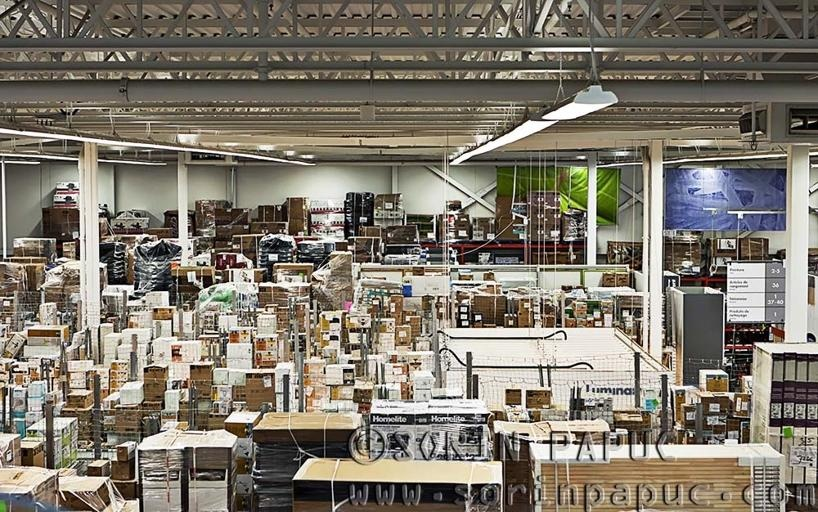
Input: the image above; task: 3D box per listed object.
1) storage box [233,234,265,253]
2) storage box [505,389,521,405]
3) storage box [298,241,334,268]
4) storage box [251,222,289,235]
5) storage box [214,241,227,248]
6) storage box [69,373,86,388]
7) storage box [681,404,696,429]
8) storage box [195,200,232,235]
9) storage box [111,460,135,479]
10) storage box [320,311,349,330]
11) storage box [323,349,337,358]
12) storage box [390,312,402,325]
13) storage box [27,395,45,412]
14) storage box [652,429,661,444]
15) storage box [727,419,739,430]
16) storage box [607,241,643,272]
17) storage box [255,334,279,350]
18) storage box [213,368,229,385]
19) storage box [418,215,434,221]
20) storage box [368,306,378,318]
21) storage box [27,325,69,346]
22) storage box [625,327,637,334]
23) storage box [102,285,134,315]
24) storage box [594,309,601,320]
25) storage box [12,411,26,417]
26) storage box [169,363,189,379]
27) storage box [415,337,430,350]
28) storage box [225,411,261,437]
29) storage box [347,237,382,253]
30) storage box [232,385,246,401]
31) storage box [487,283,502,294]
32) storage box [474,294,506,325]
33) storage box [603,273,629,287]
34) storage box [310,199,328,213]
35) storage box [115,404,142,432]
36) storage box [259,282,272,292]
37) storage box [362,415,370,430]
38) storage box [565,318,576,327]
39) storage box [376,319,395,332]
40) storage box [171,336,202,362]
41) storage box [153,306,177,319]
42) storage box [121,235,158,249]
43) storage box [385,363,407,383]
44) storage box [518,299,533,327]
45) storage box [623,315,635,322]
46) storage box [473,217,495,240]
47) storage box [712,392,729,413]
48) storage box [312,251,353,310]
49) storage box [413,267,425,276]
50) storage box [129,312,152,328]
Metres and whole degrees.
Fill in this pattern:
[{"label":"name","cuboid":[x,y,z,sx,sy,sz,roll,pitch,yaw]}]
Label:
[{"label":"storage box","cuboid":[-4.602,-0.288,36.690,0.862,0.484,0.562,-2,-2,5]},{"label":"storage box","cuboid":[2.047,2.851,25.970,0.387,0.387,0.282,-1,2,-1]},{"label":"storage box","cuboid":[-2.593,-0.035,35.531,0.905,0.646,0.495,-1,5,-21]},{"label":"storage box","cuboid":[-4.188,-0.775,38.560,1.063,0.285,1.274,-1,0,-10]},{"label":"storage box","cuboid":[-5.572,-0.272,38.375,0.335,0.197,0.660,-1,0,-15]},{"label":"storage box","cuboid":[-7.027,2.674,27.546,0.325,0.305,0.332,-3,0,-41]},{"label":"storage box","cuboid":[5.513,3.236,25.671,0.254,0.442,0.470,0,3,3]},{"label":"storage box","cuboid":[-6.061,-1.121,39.846,0.994,1.037,1.021,8,7,39]},{"label":"storage box","cuboid":[-5.375,4.074,24.373,0.572,0.309,0.362,4,-3,-24]},{"label":"storage box","cuboid":[-1.736,1.499,28.933,0.459,0.285,0.462,0,4,4]},{"label":"storage box","cuboid":[-1.699,2.144,28.116,0.293,0.166,0.313,-1,0,-9]},{"label":"storage box","cuboid":[-0.268,1.512,30.379,0.337,0.351,0.253,0,-7,-11]},{"label":"storage box","cuboid":[-7.585,3.051,26.373,0.295,0.291,0.300,1,5,-4]},{"label":"storage box","cuboid":[4.558,3.394,23.976,0.072,0.272,0.301,13,-8,-22]},{"label":"storage box","cuboid":[6.420,3.398,25.688,0.266,0.261,0.188,-1,-1,3]},{"label":"storage box","cuboid":[6.328,0.004,38.125,0.909,0.570,0.918,1,7,1]},{"label":"storage box","cuboid":[-3.122,1.929,28.169,0.514,0.269,0.302,-1,0,-12]},{"label":"storage box","cuboid":[-3.854,2.503,26.518,0.299,0.281,0.305,0,5,3]},{"label":"storage box","cuboid":[0.486,-1.114,40.127,0.420,0.148,0.124,-1,0,0]},{"label":"storage box","cuboid":[-0.837,1.375,30.320,0.192,0.195,0.351,-2,-8,0]},{"label":"storage box","cuboid":[-8.046,1.820,28.931,0.552,0.270,0.553,1,1,-4]},{"label":"storage box","cuboid":[5.405,1.893,31.734,0.267,0.200,0.158,0,-1,-1]},{"label":"storage box","cuboid":[-7.131,1.166,31.846,0.880,0.627,0.294,11,-7,8]},{"label":"storage box","cuboid":[4.587,1.491,31.776,0.189,0.194,0.120,-1,0,-1]},{"label":"storage box","cuboid":[-7.802,3.221,25.982,0.208,0.140,0.112,0,3,-2]},{"label":"storage box","cuboid":[-4.926,2.494,27.756,0.484,0.251,0.285,-1,0,6]},{"label":"storage box","cuboid":[0.295,2.016,29.011,0.281,0.278,0.267,0,-1,-3]},{"label":"storage box","cuboid":[-3.094,3.115,23.988,0.464,0.307,0.672,1,5,4]},{"label":"storage box","cuboid":[-1.240,-0.268,37.042,0.800,0.441,0.520,1,-3,2]},{"label":"storage box","cuboid":[-3.476,2.834,26.384,0.247,0.244,0.094,-1,0,8]},{"label":"storage box","cuboid":[2.104,0.846,32.228,0.362,0.229,0.676,-1,0,1]},{"label":"storage box","cuboid":[1.958,1.384,31.564,0.741,0.721,0.727,0,-10,8]},{"label":"storage box","cuboid":[5.381,0.681,33.900,0.531,0.279,0.406,0,2,6]},{"label":"storage box","cuboid":[-2.733,-1.442,39.792,0.436,0.270,0.415,0,0,-5]},{"label":"storage box","cuboid":[-5.571,3.257,25.666,0.500,0.380,0.188,-1,0,-15]},{"label":"storage box","cuboid":[-3.498,0.824,31.774,0.436,0.159,0.149,-1,0,16]},{"label":"storage box","cuboid":[-0.750,2.894,22.063,0.166,0.313,0.168,1,-3,4]},{"label":"storage box","cuboid":[3.922,1.689,31.519,0.318,0.217,0.173,-2,2,-2]},{"label":"storage box","cuboid":[-0.512,1.621,29.226,0.315,0.197,0.314,0,4,5]},{"label":"storage box","cuboid":[-4.797,2.110,27.905,0.651,0.357,0.219,-1,0,12]},{"label":"storage box","cuboid":[-5.676,1.382,30.054,0.338,0.216,0.339,0,3,1]},{"label":"storage box","cuboid":[-7.743,-0.396,36.972,0.724,0.237,0.672,0,3,1]},{"label":"storage box","cuboid":[-0.297,2.481,26.863,0.380,0.291,0.364,0,2,1]},{"label":"storage box","cuboid":[2.751,1.404,30.932,0.366,0.573,0.178,-1,0,7]},{"label":"storage box","cuboid":[5.395,1.591,31.870,0.318,0.162,0.153,-1,0,-20]},{"label":"storage box","cuboid":[2.204,-0.728,38.707,0.630,0.628,0.639,0,1,-1]},{"label":"storage box","cuboid":[6.192,2.979,25.710,0.333,0.328,0.204,1,-7,6]},{"label":"storage box","cuboid":[-1.915,0.727,32.509,1.406,1.496,0.767,-1,1,-12]},{"label":"storage box","cuboid":[0.208,0.443,32.552,0.324,0.233,0.178,0,-1,1]},{"label":"storage box","cuboid":[-6.193,1.528,29.773,0.388,0.391,0.251,2,-4,-10]}]
